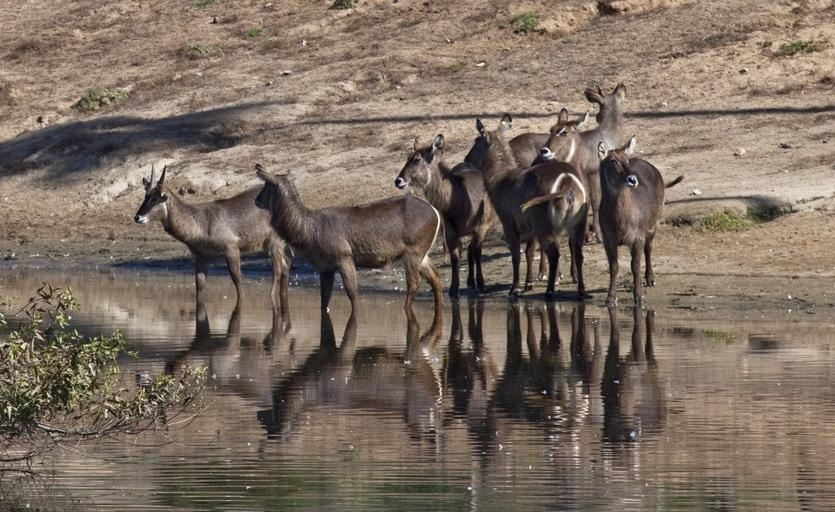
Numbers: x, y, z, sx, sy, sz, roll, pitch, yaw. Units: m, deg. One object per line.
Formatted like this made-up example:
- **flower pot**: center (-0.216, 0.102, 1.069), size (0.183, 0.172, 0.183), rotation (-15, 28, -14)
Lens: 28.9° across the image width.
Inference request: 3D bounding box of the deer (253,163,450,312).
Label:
- **deer**: center (-1.677, -0.380, 37.010), size (4.668, 3.233, 1.406), rotation (0, 4, -17)
